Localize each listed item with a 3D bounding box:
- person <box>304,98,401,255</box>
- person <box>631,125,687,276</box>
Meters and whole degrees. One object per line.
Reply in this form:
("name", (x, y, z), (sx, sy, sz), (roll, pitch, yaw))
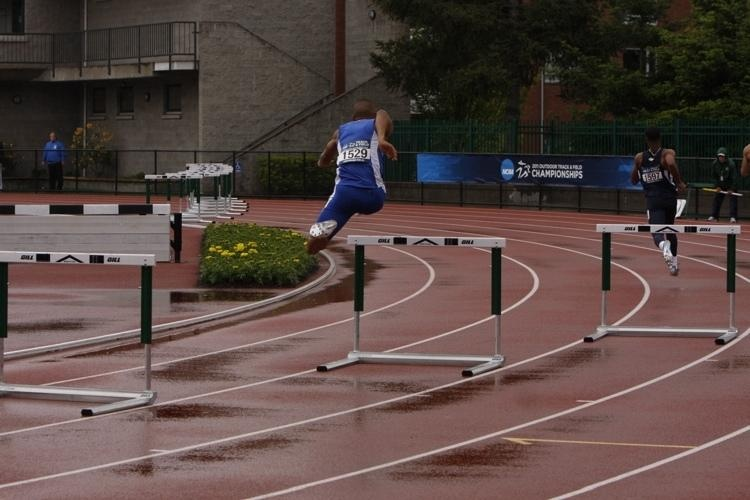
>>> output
("person", (-0.353, -1.047, 20.036), (1.314, 2.487, 1.269), (0, 15, 0))
("person", (5.298, -0.860, 23.296), (1.027, 2.323, 1.352), (0, 1, 44))
